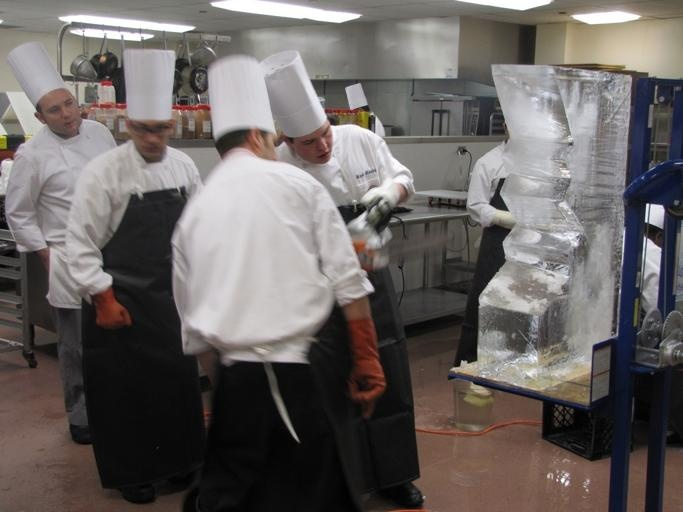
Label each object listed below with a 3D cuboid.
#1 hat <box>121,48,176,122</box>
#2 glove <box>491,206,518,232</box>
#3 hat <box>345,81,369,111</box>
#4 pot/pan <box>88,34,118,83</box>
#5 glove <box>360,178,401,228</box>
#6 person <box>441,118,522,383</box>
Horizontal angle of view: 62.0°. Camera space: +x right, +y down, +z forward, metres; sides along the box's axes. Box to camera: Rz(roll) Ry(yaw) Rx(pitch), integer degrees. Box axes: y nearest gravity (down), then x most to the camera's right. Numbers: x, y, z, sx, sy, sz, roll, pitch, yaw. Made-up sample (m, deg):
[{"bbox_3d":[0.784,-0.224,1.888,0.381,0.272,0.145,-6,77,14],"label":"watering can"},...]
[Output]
[{"bbox_3d":[-0.789,-0.717,2.366,0.206,0.303,0.194,-5,13,-19],"label":"hat"},{"bbox_3d":[0.880,-0.206,3.143,0.097,0.105,0.219,1,12,9],"label":"glove"},{"bbox_3d":[0.118,-1.330,4.699,0.150,0.224,0.306,0,12,2],"label":"hat"},{"bbox_3d":[-2.215,-1.852,5.314,0.242,0.366,0.602,-5,13,-20],"label":"pot/pan"},{"bbox_3d":[0.121,-0.167,1.695,0.068,0.082,0.283,-18,14,15],"label":"glove"},{"bbox_3d":[0.804,-0.028,3.237,0.277,1.349,0.551,2,13,12],"label":"person"}]
